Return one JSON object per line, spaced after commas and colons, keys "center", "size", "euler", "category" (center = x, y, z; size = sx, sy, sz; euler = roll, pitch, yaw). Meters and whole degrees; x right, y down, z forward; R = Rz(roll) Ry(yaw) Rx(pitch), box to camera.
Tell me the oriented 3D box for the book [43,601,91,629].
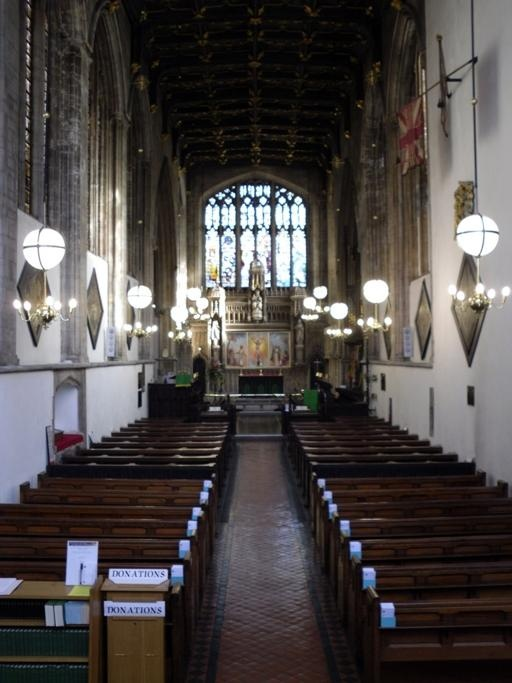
{"center": [-1.167, 1.694, 4.688], "size": [0.209, 0.176, 0.136], "euler": [1, -2, -2], "category": "book"}
